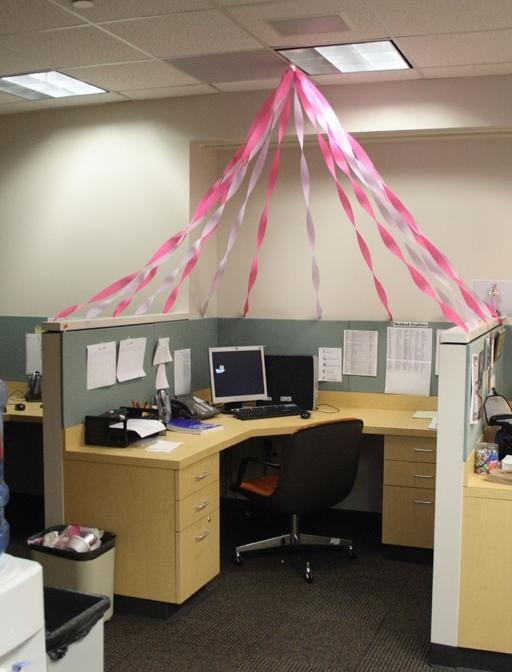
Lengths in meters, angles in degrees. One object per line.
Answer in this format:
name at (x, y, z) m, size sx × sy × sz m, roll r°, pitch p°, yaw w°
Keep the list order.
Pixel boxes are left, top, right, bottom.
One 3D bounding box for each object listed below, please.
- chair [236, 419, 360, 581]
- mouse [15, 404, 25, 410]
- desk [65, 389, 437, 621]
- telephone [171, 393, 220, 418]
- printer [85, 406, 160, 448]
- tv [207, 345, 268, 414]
chair at (0.227, 0.784, 2.874) m, size 0.624 × 0.803 × 0.665 m, roll 3°, pitch 4°, yaw 7°
mouse at (-1.377, 0.416, 3.147) m, size 0.042 × 0.047 × 0.060 m, roll 1°, pitch -4°, yaw 8°
desk at (-0.246, 0.697, 2.478) m, size 1.060 × 0.609 × 1.176 m, roll 2°, pitch 6°, yaw 18°
telephone at (-0.368, 0.404, 3.067) m, size 0.162 × 0.071 × 0.167 m, roll 9°, pitch 7°, yaw 24°
printer at (-0.613, 0.389, 2.458) m, size 0.198 × 0.096 × 0.205 m, roll 3°, pitch 5°, yaw 20°
tv at (-0.116, 0.278, 3.391) m, size 0.385 × 0.389 × 0.028 m, roll -1°, pitch -6°, yaw -25°
